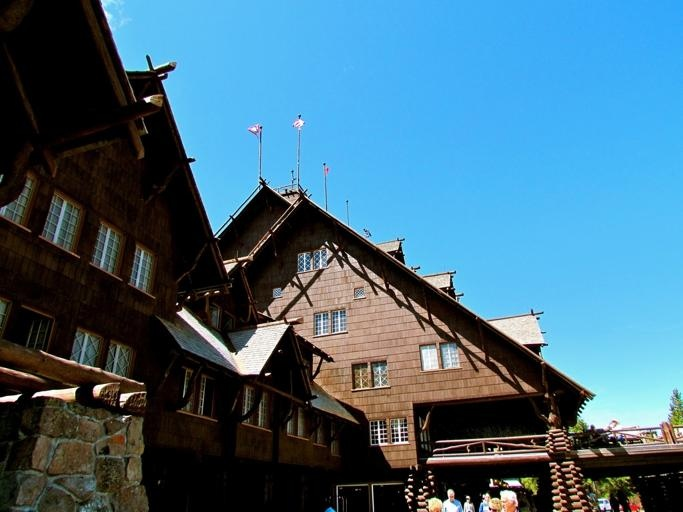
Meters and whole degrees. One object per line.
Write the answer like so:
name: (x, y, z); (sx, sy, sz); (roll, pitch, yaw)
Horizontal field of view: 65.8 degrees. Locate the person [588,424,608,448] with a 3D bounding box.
person: (11.350, 7.940, 23.354); (0.894, 0.995, 1.635); (-14, -34, 20)
